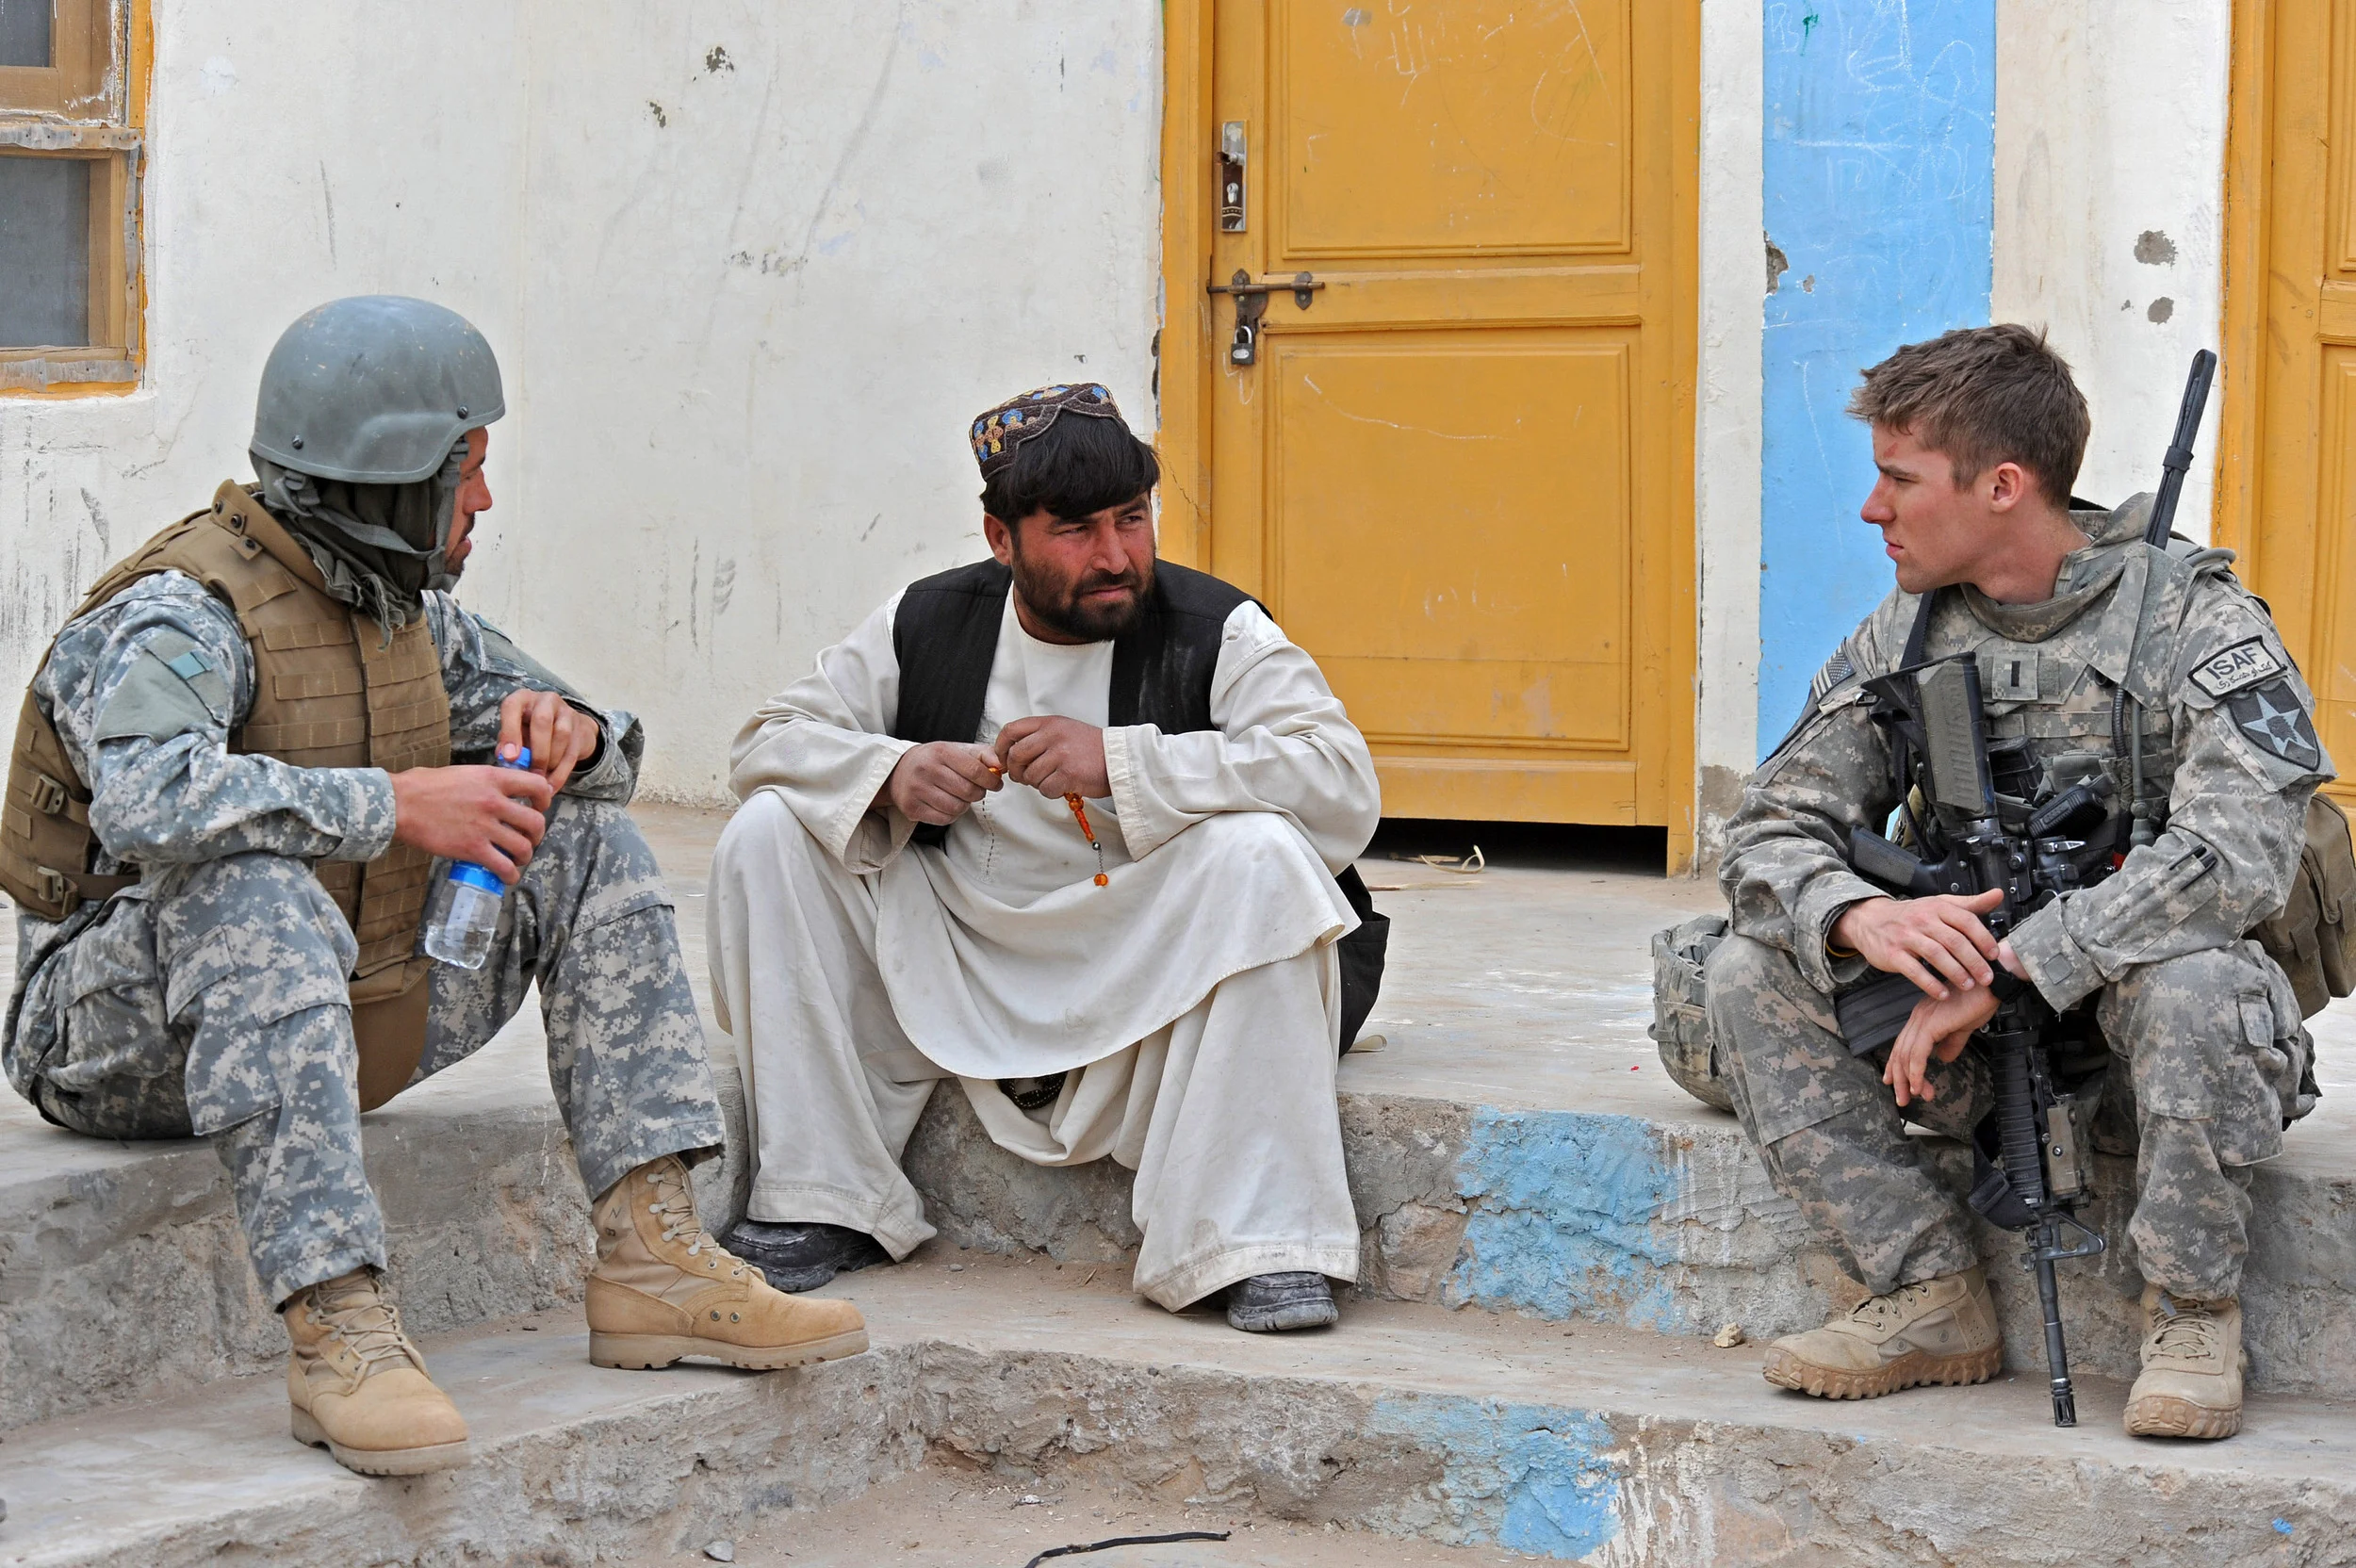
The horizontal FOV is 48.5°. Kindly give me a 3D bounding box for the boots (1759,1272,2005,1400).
[{"bbox_3d":[1.315,1.006,4.857,0.482,0.250,0.182,-2,3,-12],"label":"boots"}]

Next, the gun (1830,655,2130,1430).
[{"bbox_3d":[1.463,0.433,4.756,0.491,1.343,0.372,1,4,28],"label":"gun"}]

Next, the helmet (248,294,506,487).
[{"bbox_3d":[-1.403,-0.718,4.546,0.345,0.226,0.336,-5,15,-20],"label":"helmet"}]

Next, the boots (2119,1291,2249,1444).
[{"bbox_3d":[1.770,1.003,4.564,0.184,0.224,0.287,1,4,26],"label":"boots"}]

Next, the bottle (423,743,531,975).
[{"bbox_3d":[-1.211,0.119,4.549,0.158,0.368,0.333,-1,3,-4],"label":"bottle"}]

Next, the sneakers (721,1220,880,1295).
[{"bbox_3d":[-0.760,0.944,5.226,0.280,0.121,0.111,25,-3,-37],"label":"sneakers"}]

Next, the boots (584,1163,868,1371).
[{"bbox_3d":[-0.747,0.889,4.760,0.610,0.458,0.228,1,1,-3],"label":"boots"}]

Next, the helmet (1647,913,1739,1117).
[{"bbox_3d":[0.985,0.440,5.138,0.245,0.335,0.324,-2,2,-2],"label":"helmet"}]

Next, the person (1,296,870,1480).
[{"bbox_3d":[-1.460,0.121,4.623,1.104,1.952,0.964,2,5,41],"label":"person"}]

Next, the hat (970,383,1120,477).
[{"bbox_3d":[-0.275,-0.717,5.249,0.233,0.188,0.270,-3,4,-30],"label":"hat"}]

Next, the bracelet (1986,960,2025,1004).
[{"bbox_3d":[1.469,0.346,4.609,0.055,0.039,0.077,7,9,15],"label":"bracelet"}]
